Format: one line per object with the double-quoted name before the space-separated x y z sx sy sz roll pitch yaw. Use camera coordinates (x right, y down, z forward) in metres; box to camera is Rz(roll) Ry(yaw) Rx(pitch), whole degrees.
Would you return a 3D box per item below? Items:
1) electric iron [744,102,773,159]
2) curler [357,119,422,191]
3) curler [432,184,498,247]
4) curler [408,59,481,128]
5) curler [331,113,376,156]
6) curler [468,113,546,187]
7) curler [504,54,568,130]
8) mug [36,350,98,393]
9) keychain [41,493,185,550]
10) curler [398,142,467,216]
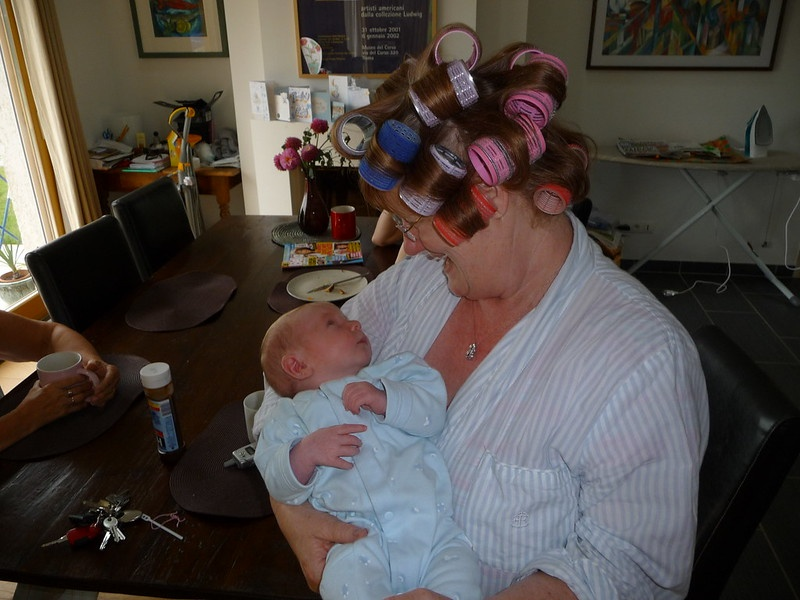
"electric iron" 2.446 -1.142 3.988 0.166 0.324 0.188 14 29 29
"curler" -0.042 -0.324 1.263 0.121 0.142 0.116 27 5 -20
"curler" 0.133 -0.171 1.210 0.099 0.063 0.127 -43 4 7
"curler" 0.090 -0.431 1.215 0.132 0.115 0.050 -26 -2 15
"curler" -0.106 -0.369 1.344 0.083 0.104 0.088 9 11 2
"curler" 0.208 -0.295 1.266 0.162 0.151 0.116 -34 19 -18
"curler" 0.303 -0.482 1.305 0.124 0.147 0.224 4 28 9
"mug" -1.010 0.197 1.792 0.145 0.126 0.104 11 21 1
"keychain" -0.718 0.552 1.440 0.186 0.033 0.158 12 39 7
"curler" 0.069 -0.265 1.311 0.104 0.112 0.151 41 8 -15
